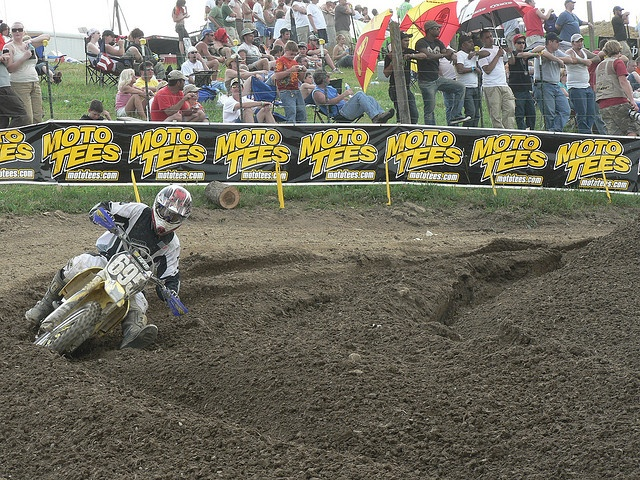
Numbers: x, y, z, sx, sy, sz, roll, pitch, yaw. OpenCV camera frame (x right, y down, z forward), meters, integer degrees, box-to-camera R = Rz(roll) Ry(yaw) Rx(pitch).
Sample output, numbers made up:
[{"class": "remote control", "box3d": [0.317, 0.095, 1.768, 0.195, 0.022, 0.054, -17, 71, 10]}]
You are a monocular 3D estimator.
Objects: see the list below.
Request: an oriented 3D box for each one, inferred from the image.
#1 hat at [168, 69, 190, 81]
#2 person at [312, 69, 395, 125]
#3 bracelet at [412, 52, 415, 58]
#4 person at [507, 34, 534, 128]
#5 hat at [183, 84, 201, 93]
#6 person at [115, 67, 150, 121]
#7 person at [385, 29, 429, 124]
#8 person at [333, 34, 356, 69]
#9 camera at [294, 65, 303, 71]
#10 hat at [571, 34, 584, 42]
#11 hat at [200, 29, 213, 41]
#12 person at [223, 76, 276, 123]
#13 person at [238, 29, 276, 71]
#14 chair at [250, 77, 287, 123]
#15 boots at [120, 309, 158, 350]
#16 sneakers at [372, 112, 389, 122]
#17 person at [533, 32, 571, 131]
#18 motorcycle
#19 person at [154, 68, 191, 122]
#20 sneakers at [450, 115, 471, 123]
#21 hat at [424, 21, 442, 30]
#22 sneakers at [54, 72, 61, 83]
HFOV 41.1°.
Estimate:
[{"class": "hat", "box3d": [-2.701, -3.083, 15.989, 0.249, 0.150, 0.325, 13, 19, 25]}, {"class": "person", "box3d": [0.601, -2.881, 17.000, 1.507, 1.037, 0.666, 1, 10, 8]}, {"class": "bracelet", "box3d": [1.826, -3.642, 16.788, 0.091, 0.107, 0.103, 2, 10, 15]}, {"class": "person", "box3d": [4.231, -3.114, 17.799, 0.563, 1.562, 0.734, 2, 10, 12]}, {"class": "hat", "box3d": [-2.442, -2.869, 16.232, 0.279, 0.101, 0.180, -9, 31, -1]}, {"class": "person", "box3d": [-3.761, -2.901, 16.870, 0.577, 0.982, 0.961, -3, 10, -12]}, {"class": "person", "box3d": [1.671, -3.239, 16.963, 0.794, 1.803, 0.805, -1, 10, -3]}, {"class": "person", "box3d": [0.729, -5.358, 24.457, 0.638, 1.033, 0.637, 12, 28, 38]}, {"class": "camera", "box3d": [-0.446, -3.421, 16.865, 0.085, 0.092, 0.280, -33, 18, 25]}, {"class": "hat", "box3d": [5.384, -4.287, 18.045, 0.272, 0.134, 0.360, -9, 11, -21]}, {"class": "hat", "box3d": [-2.720, -4.961, 20.521, 0.234, 0.147, 0.322, -5, 2, -28]}, {"class": "person", "box3d": [-1.505, -2.743, 16.735, 1.151, 0.840, 0.696, 5, 11, 28]}, {"class": "person", "box3d": [-1.468, -4.379, 19.828, 0.947, 1.068, 0.766, -3, 18, -10]}, {"class": "chair", "box3d": [-1.113, -3.000, 17.482, 0.857, 1.044, 0.743, -1, 23, -4]}, {"class": "boots", "box3d": [-2.257, 1.114, 10.500, 0.408, 0.177, 0.383, -38, 46, 4]}, {"class": "sneakers", "box3d": [1.206, -2.438, 16.794, 0.372, 0.221, 0.182, -4, 10, -21]}, {"class": "person", "box3d": [4.879, -3.282, 17.767, 0.799, 1.993, 0.718, 0, 10, 1]}, {"class": "motorcycle", "box3d": [-2.819, 0.764, 11.033, 1.371, 1.371, 2.116, -33, 2, -13]}, {"class": "person", "box3d": [-2.862, -2.745, 16.176, 0.623, 0.915, 0.549, 7, 12, 37]}, {"class": "sneakers", "box3d": [2.856, -2.450, 17.333, 0.400, 0.145, 0.137, -10, 12, 16]}, {"class": "hat", "box3d": [2.239, -4.283, 16.919, 0.263, 0.132, 0.185, -6, 17, 6]}, {"class": "sneakers", "box3d": [-7.051, -4.349, 22.799, 0.138, 0.161, 0.396, -41, -15, -21]}]
